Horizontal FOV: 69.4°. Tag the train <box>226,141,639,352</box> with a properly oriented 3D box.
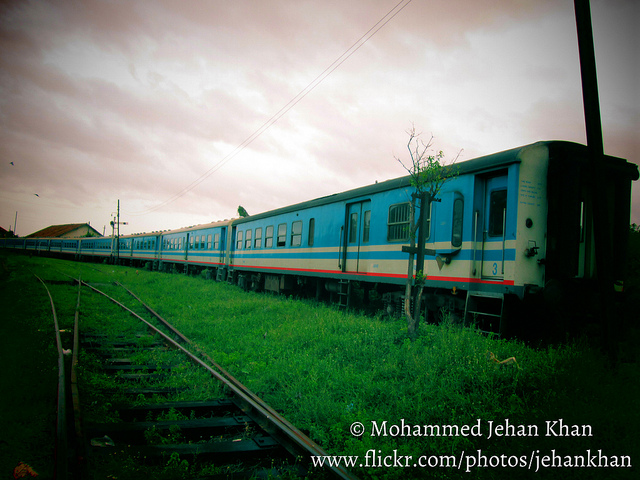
[{"bbox_3d":[1.016,-0.068,16.859,3.622,5.178,18.149,3,1,-32],"label":"train"}]
